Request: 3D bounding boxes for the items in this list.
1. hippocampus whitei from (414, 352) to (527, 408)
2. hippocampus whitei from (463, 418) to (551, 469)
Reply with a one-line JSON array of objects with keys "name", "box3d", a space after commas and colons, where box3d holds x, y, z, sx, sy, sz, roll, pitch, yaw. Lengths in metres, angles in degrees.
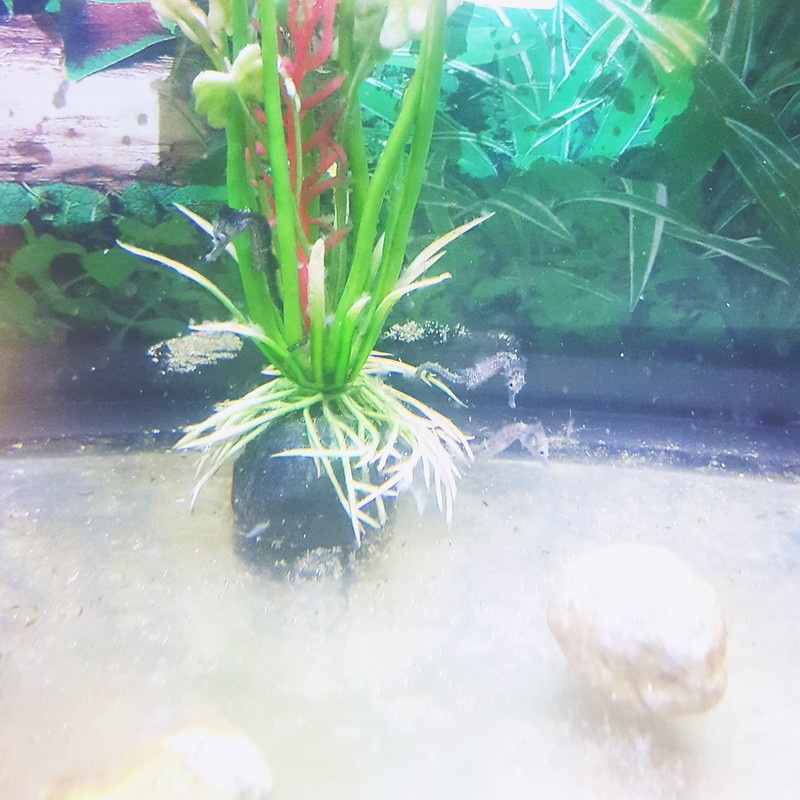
[{"name": "hippocampus whitei", "box3d": [0.086, -0.030, 0.966, 0.122, 0.062, 0.028, 16, 2, -26]}, {"name": "hippocampus whitei", "box3d": [0.150, 0.056, 0.961, 0.077, 0.061, 0.027, -16, 10, -43]}]
